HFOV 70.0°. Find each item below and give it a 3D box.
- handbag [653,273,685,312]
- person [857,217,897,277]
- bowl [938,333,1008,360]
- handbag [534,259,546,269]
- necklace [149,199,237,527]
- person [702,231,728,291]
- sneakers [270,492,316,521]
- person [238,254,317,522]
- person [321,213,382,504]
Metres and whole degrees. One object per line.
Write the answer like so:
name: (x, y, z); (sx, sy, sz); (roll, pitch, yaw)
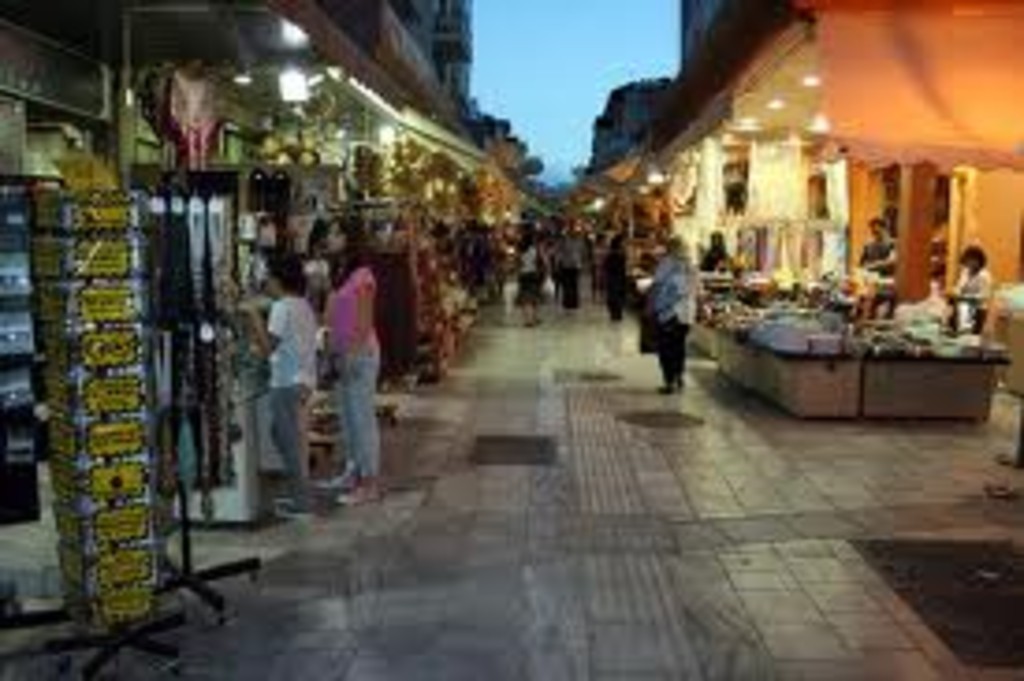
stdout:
handbag: (1.960, -0.591, 9.122); (0.421, 0.411, 0.146); (10, 3, -25)
person: (5.355, -1.352, 10.694); (0.435, 0.856, 0.961); (5, 13, 25)
bowl: (4.894, 0.051, 7.924); (0.668, 0.186, 0.714); (0, 12, 0)
handbag: (0.608, -1.543, 14.862); (0.132, 0.216, 0.319); (6, 13, 30)
necklace: (-1.880, 0.109, 4.431); (0.449, 1.997, 0.322); (-5, 12, -21)
person: (3.700, -1.612, 13.358); (0.434, 0.746, 0.674); (3, 12, 18)
sneakers: (-1.626, 1.257, 5.495); (0.320, 0.137, 0.139); (9, 6, 19)
person: (-1.613, 0.378, 5.219); (0.427, 1.960, 0.672); (-1, 11, -6)
person: (-1.287, 0.132, 5.766); (0.483, 2.213, 0.603); (-5, 12, -25)
